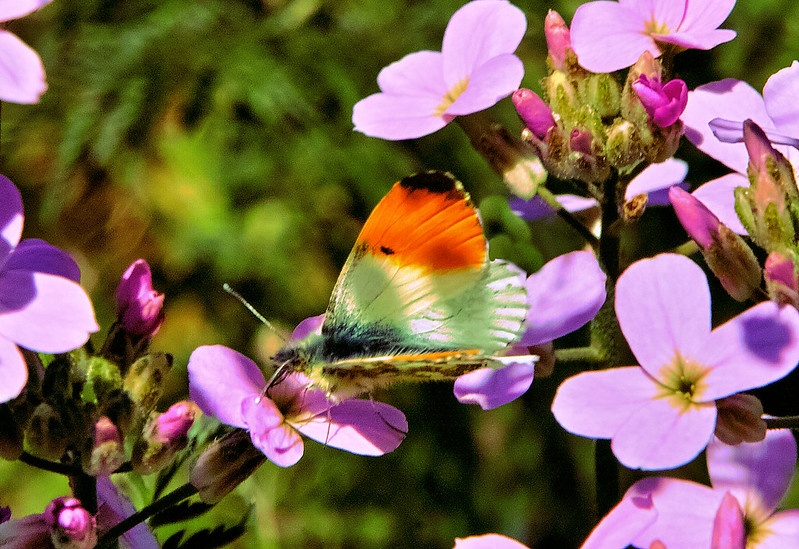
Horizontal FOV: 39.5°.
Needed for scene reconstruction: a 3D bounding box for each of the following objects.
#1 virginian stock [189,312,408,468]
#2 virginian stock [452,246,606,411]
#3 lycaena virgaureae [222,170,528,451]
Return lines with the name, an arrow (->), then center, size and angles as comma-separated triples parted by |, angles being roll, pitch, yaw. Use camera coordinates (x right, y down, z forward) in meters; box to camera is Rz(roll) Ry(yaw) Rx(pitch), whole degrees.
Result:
virginian stock -> -0.231, 0.309, 2.488 | 0.441, 0.299, 0.242 | -4, 44, 16
virginian stock -> 0.320, 0.139, 2.565 | 0.340, 0.162, 0.345 | -34, 43, 13
lycaena virgaureae -> 0.009, 0.020, 2.585 | 0.511, 0.331, 0.579 | -7, 13, 13
